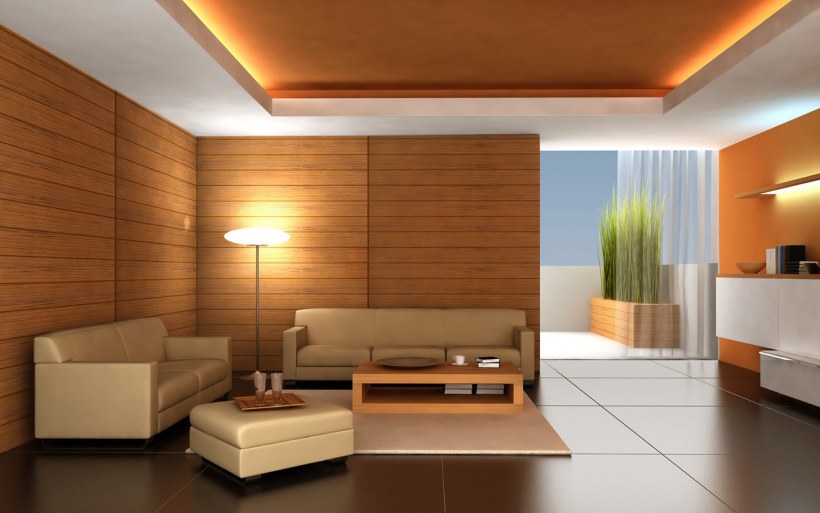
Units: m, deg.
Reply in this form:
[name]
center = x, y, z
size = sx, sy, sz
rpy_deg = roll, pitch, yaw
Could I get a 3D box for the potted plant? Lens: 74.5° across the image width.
[potted plant]
center = 3.652, 0.251, 9.069
size = 0.765, 2.659, 1.584
rpy_deg = -3, 10, -16

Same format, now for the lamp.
[lamp]
center = -2.126, 0.655, 7.726
size = 0.797, 2.151, 0.917
rpy_deg = -3, 10, -14

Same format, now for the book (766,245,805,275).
[book]
center = 4.833, 0.047, 7.010
size = 0.258, 0.337, 0.405
rpy_deg = 3, -4, -9

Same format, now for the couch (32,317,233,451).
[couch]
center = -2.960, 1.556, 5.684
size = 1.159, 0.804, 1.971
rpy_deg = 0, -2, 6
